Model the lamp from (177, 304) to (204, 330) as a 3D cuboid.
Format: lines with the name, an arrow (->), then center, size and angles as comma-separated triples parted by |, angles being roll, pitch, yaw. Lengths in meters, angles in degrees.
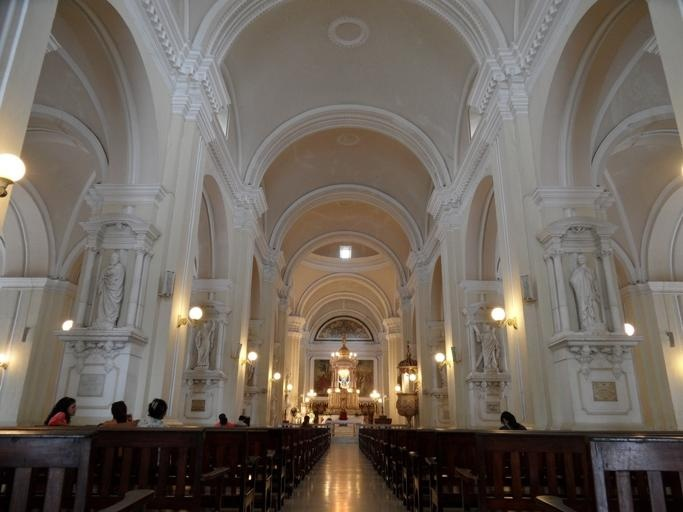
lamp -> -2.883, 1.172, 8.611 | 0.320, 0.562, 1.069 | 4, -21, -11

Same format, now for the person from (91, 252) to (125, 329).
person -> -3.661, 0.512, 7.102 | 0.391, 1.238, 0.226 | 6, -19, -19

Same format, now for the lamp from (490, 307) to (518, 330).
lamp -> 3.171, 1.189, 8.598 | 0.324, 0.416, 0.807 | -7, -20, 43

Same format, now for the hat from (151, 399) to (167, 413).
hat -> -2.298, 1.866, 5.669 | 0.130, 0.190, 0.179 | 0, -9, -2

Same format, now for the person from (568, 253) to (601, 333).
person -> 3.786, 0.556, 7.002 | 0.405, 1.223, 0.242 | -7, -19, 19

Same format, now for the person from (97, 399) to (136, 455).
person -> -2.893, 2.338, 5.767 | 0.349, 0.958, 0.251 | 7, 1, -31

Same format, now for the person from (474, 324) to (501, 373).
person -> 3.562, 2.239, 11.112 | 0.613, 1.214, 0.340 | -4, -18, 12

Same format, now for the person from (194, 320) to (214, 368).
person -> -3.486, 2.200, 11.344 | 0.471, 1.225, 0.384 | 0, -18, 1
